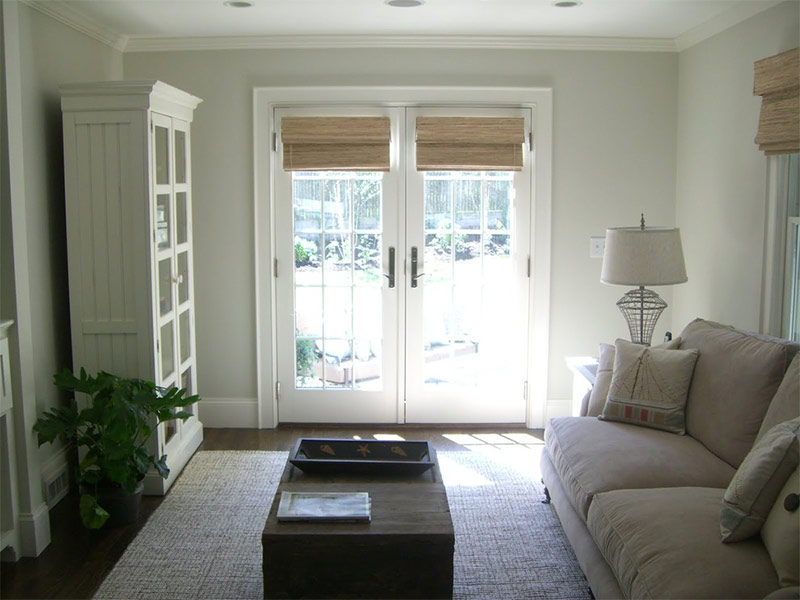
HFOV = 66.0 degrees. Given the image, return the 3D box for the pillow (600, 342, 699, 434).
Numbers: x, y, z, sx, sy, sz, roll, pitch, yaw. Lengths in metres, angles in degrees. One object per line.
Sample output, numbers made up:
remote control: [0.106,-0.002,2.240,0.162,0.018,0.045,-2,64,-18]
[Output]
pillow: [1.317,0.470,3.196,0.371,0.413,0.162,9,-23,26]

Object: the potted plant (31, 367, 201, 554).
potted plant: [-1.692,0.715,3.503,0.966,0.793,0.845,1,2,-43]
